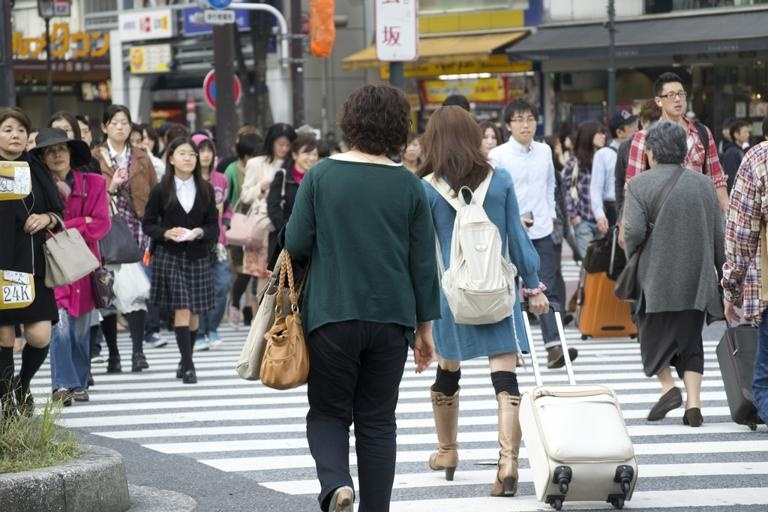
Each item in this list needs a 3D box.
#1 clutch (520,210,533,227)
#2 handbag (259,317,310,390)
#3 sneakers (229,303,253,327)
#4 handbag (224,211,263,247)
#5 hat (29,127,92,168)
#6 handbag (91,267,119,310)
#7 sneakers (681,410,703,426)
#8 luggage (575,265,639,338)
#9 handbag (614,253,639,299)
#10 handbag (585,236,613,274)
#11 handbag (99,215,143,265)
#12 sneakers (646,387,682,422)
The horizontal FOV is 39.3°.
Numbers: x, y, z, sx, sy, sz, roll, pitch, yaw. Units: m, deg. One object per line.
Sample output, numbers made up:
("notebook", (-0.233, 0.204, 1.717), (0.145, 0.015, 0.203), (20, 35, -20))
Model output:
("clutch", (1.337, -0.337, 10.095), (0.149, 0.160, 0.035), (2, -8, -33))
("handbag", (-0.673, 0.654, 7.524), (0.272, 0.586, 0.432), (-2, -4, 20))
("sneakers", (-2.055, 0.870, 15.232), (0.189, 0.254, 0.545), (1, -10, -10))
("handbag", (-1.838, -0.335, 14.025), (0.380, 0.464, 0.157), (2, -8, 12))
("hat", (-3.155, -1.113, 10.240), (0.566, 0.286, 0.602), (-9, -1, -28))
("handbag", (-2.911, 0.362, 11.127), (0.150, 0.527, 0.463), (-3, -3, 17))
("sneakers", (2.837, 1.490, 9.836), (0.102, 0.102, 0.223), (-1, -21, 1))
("luggage", (2.781, 0.625, 13.338), (0.681, 1.467, 0.818), (1, 3, 5))
("handbag", (2.306, 0.204, 10.200), (0.172, 0.446, 0.361), (10, 8, 0))
("handbag", (2.588, -0.027, 13.202), (0.346, 0.537, 0.267), (1, -23, 19))
("handbag", (-2.890, -0.158, 11.698), (0.454, 0.684, 0.182), (-6, 0, -29))
("sneakers", (2.603, 1.407, 10.046), (0.169, 0.471, 0.194), (33, 36, -6))
